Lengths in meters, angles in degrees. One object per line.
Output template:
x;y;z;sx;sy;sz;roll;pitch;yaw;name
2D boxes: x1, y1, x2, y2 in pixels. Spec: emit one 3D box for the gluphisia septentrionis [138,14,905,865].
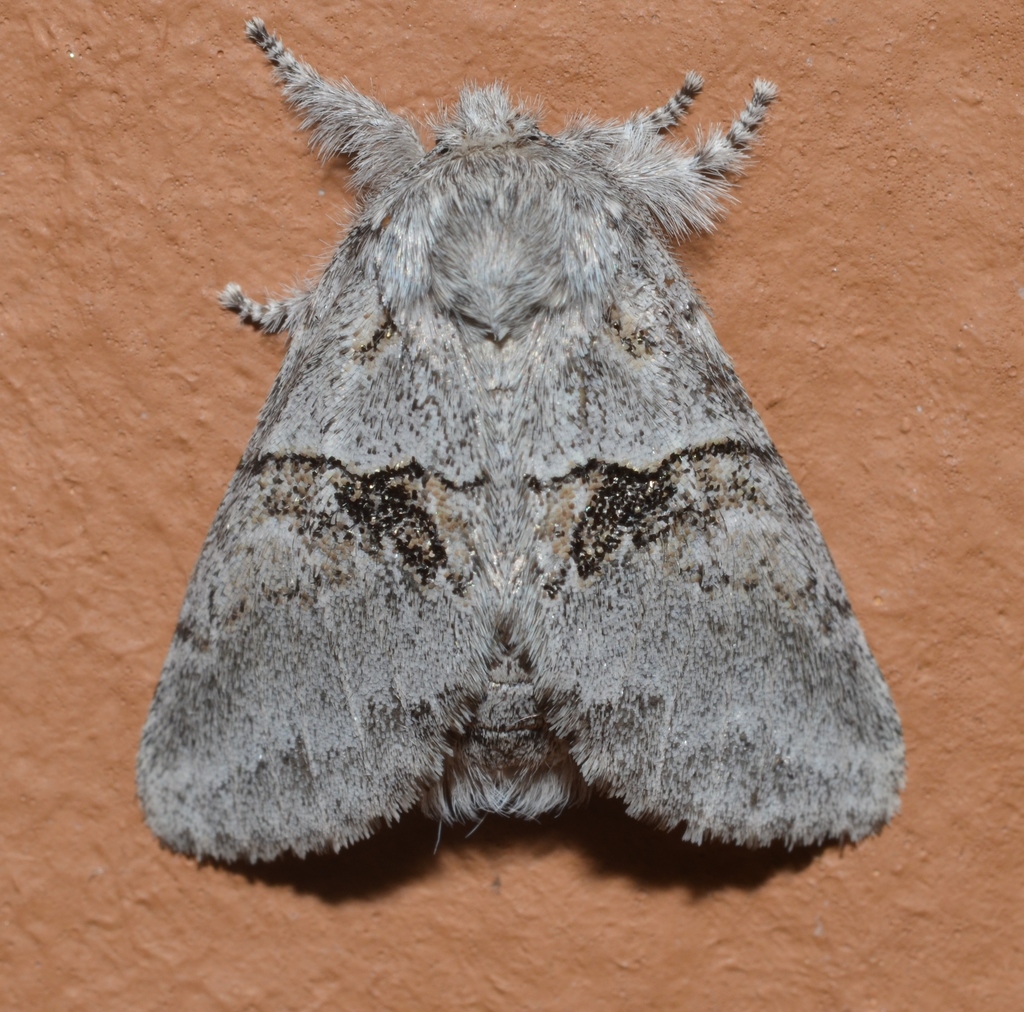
-0.055;-0.179;6.629;3.040;0.970;3.365;-2;91;3;gluphisia septentrionis
